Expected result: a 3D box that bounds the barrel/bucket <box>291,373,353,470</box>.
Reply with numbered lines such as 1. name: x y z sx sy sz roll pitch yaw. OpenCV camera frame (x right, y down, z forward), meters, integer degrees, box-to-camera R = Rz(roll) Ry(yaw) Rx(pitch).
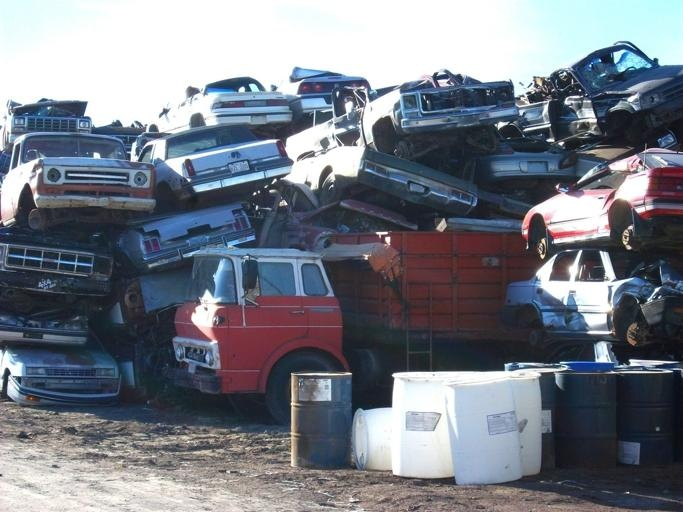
1. barrel/bucket: -0.250 2.106 14.777 0.782 1.164 0.488 0 8 -1
